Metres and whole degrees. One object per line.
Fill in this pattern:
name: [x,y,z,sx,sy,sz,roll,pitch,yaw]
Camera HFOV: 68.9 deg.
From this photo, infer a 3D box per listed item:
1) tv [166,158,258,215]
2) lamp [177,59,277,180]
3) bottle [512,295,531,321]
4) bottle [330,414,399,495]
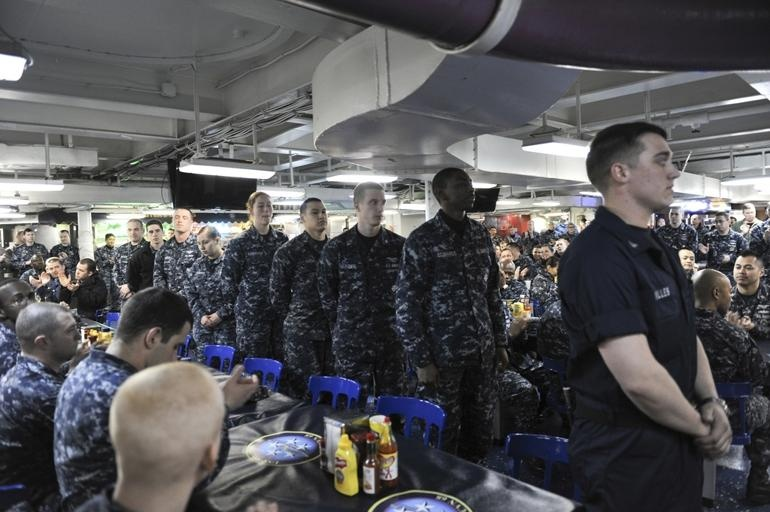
tv: [-2.990,-1.206,9.613,0.172,0.977,1.769,1,2,45]
lamp: [-2.253,-1.800,8.188,1.307,1.302,1.497,-6,-9,43]
bottle: [1.554,0.599,6.423,0.162,0.256,0.170,-2,4,0]
bottle: [-0.077,1.029,2.941,0.399,0.407,0.280,-2,-6,23]
